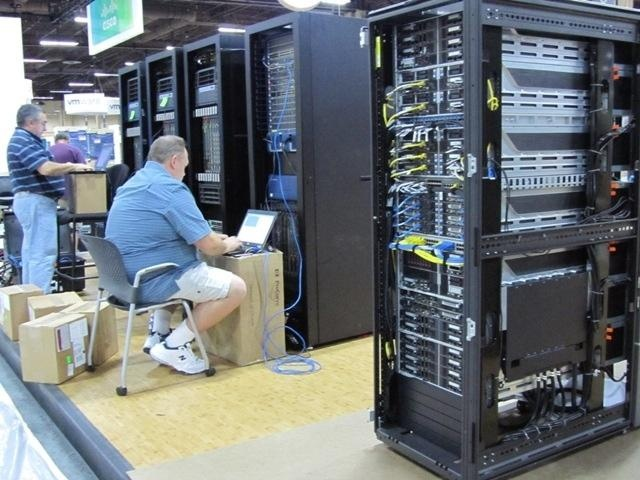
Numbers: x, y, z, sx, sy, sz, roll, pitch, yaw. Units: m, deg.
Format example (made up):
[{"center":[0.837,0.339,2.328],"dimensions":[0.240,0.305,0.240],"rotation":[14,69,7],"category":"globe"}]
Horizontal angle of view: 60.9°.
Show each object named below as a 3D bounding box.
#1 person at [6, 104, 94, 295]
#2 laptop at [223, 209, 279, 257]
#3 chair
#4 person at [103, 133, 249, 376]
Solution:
[{"center":[-2.635,-0.350,5.065],"dimensions":[0.542,1.813,0.654],"rotation":[2,11,18],"category":"person"},{"center":[-0.498,-0.062,4.161],"dimensions":[0.344,0.339,0.243],"rotation":[12,2,44],"category":"laptop"},{"center":[-1.223,0.455,3.864],"dimensions":[0.826,0.979,0.873],"rotation":[6,10,28],"category":"chair"},{"center":[-1.091,0.095,4.049],"dimensions":[1.033,1.681,1.049],"rotation":[2,5,-16],"category":"person"}]
